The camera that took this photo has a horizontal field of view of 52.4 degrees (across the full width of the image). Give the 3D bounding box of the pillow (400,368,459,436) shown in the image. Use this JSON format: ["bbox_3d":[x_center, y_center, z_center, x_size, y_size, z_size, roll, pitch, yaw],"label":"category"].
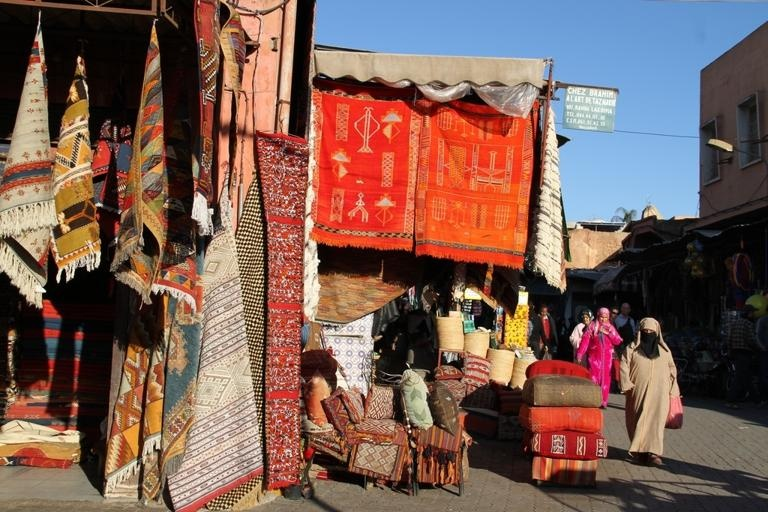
[{"bbox_3d":[0.537,1.682,9.076,0.720,0.667,0.347,4,-5,0],"label":"pillow"}]

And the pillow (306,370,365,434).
[{"bbox_3d":[-0.637,1.730,9.299,0.655,0.675,0.449,5,-5,-7],"label":"pillow"}]

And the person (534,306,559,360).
[{"bbox_3d":[3.648,1.708,17.645,0.469,1.176,2.770,3,-5,13],"label":"person"}]

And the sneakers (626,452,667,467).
[{"bbox_3d":[3.399,2.637,10.212,0.499,0.221,0.172,0,0,4],"label":"sneakers"}]

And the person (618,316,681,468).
[{"bbox_3d":[3.444,1.663,10.226,0.721,1.736,0.455,2,-5,21],"label":"person"}]
